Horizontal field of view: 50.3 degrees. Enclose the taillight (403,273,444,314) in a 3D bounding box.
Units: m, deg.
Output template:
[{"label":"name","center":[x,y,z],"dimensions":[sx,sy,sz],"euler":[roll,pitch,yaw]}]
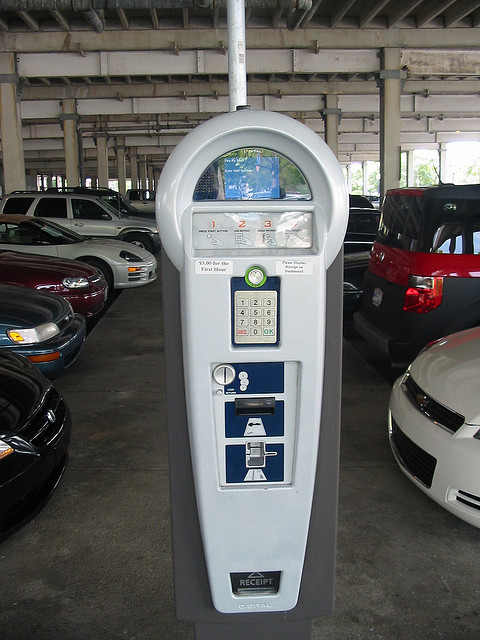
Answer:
[{"label":"taillight","center":[1.481,-0.208,4.097],"dimensions":[0.285,0.309,0.066],"euler":[4,12,21]}]
